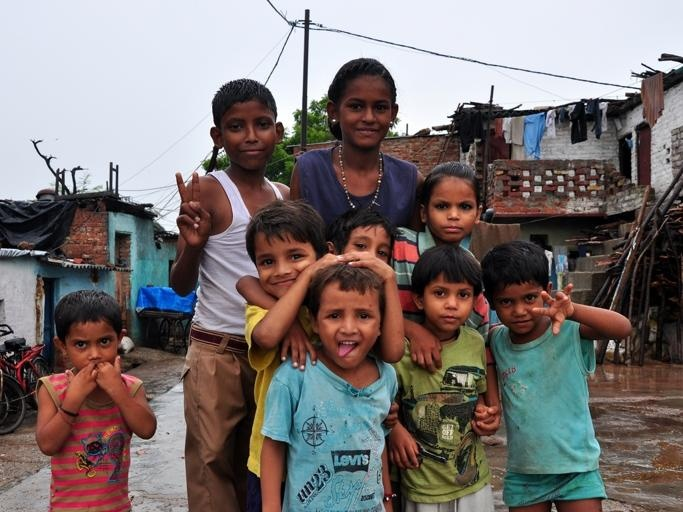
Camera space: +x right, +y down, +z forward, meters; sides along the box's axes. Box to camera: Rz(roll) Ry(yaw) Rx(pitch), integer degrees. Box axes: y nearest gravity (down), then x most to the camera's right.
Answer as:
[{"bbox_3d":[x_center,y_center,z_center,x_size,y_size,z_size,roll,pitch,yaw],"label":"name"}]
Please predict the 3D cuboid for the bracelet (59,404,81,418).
[{"bbox_3d":[-1.692,0.959,4.243,0.086,0.024,0.085,13,-14,42],"label":"bracelet"}]

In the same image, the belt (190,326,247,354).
[{"bbox_3d":[-0.789,0.552,4.492,0.229,0.068,0.225,18,-5,-33],"label":"belt"}]

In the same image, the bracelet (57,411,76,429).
[{"bbox_3d":[-1.698,0.993,4.235,0.095,0.114,0.049,14,-38,-36],"label":"bracelet"}]
